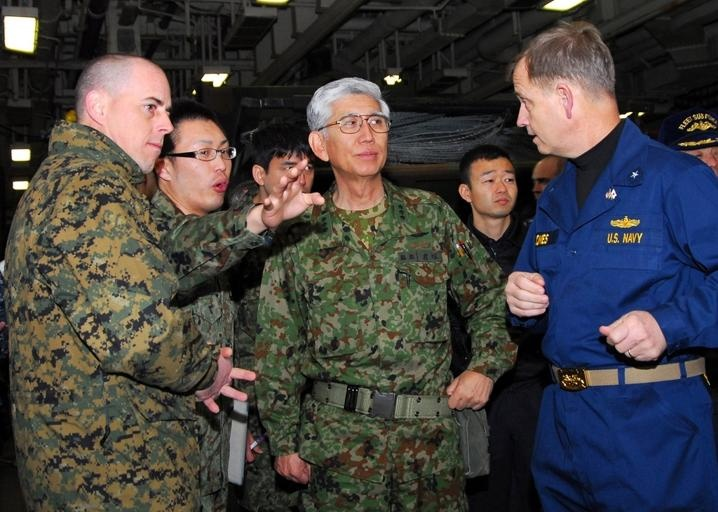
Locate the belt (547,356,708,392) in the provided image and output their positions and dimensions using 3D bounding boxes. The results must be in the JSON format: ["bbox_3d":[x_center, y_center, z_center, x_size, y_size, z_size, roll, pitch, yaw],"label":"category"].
[{"bbox_3d":[1.019,0.447,2.455,0.296,0.054,0.255,-4,-5,-1],"label":"belt"}]

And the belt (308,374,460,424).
[{"bbox_3d":[0.088,0.626,2.813,0.584,0.144,0.126,2,6,6],"label":"belt"}]

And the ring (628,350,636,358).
[{"bbox_3d":[0.941,0.342,2.283,0.027,0.031,0.035,-10,-16,24],"label":"ring"}]
